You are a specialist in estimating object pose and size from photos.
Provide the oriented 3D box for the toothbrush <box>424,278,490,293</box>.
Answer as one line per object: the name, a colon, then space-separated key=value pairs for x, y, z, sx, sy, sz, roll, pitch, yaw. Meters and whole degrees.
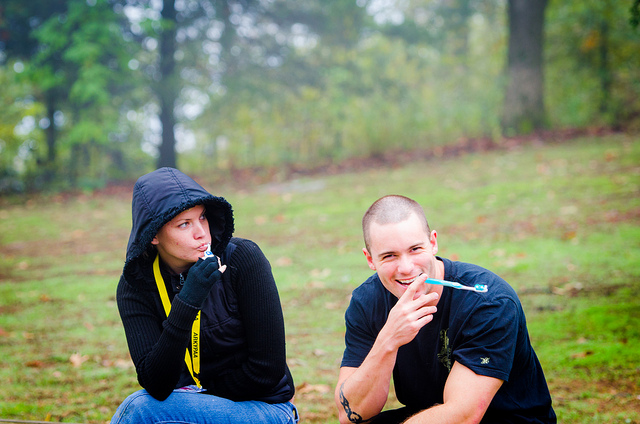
toothbrush: x=1.295 y=0.692 z=7.038 sx=0.758 sy=0.134 sz=0.058 roll=4 pitch=12 yaw=11

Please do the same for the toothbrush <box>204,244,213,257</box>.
toothbrush: x=-1.084 y=0.368 z=7.270 sx=0.102 sy=0.102 sz=0.034 roll=5 pitch=-10 yaw=-45

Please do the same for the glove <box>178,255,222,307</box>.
glove: x=-1.134 y=0.662 z=7.144 sx=0.237 sy=0.488 sz=0.327 roll=37 pitch=17 yaw=15
